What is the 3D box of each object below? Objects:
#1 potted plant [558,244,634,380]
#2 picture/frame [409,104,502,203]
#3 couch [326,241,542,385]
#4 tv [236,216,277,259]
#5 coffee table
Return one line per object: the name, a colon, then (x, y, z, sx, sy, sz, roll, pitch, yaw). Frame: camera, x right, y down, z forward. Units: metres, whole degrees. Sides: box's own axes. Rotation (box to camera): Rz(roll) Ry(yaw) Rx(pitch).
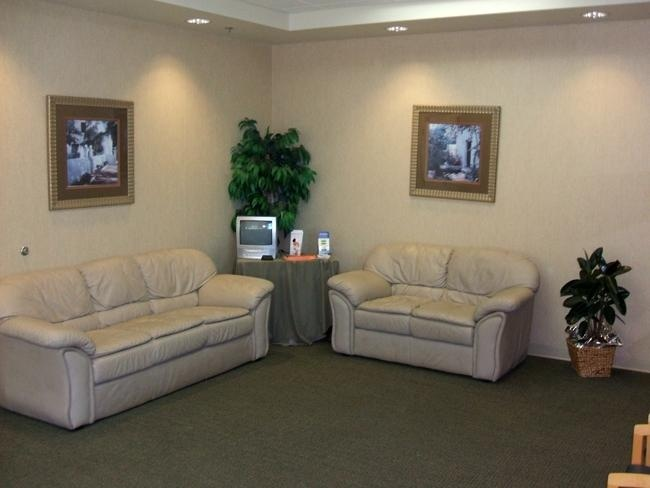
potted plant: (2.811, 0.802, 5.299, 0.607, 1.165, 0.553, 2, -1, 24)
picture/frame: (1.586, -1.079, 6.097, 1.050, 1.206, 0.098, 5, 5, 27)
couch: (1.232, 0.704, 5.866, 2.177, 1.295, 1.208, 3, 5, 40)
tv: (-0.743, -0.059, 6.364, 0.568, 0.671, 0.445, 0, 0, 6)
coffee table: (-0.500, 0.533, 6.493, 1.495, 1.223, 0.871, 0, 4, -4)
